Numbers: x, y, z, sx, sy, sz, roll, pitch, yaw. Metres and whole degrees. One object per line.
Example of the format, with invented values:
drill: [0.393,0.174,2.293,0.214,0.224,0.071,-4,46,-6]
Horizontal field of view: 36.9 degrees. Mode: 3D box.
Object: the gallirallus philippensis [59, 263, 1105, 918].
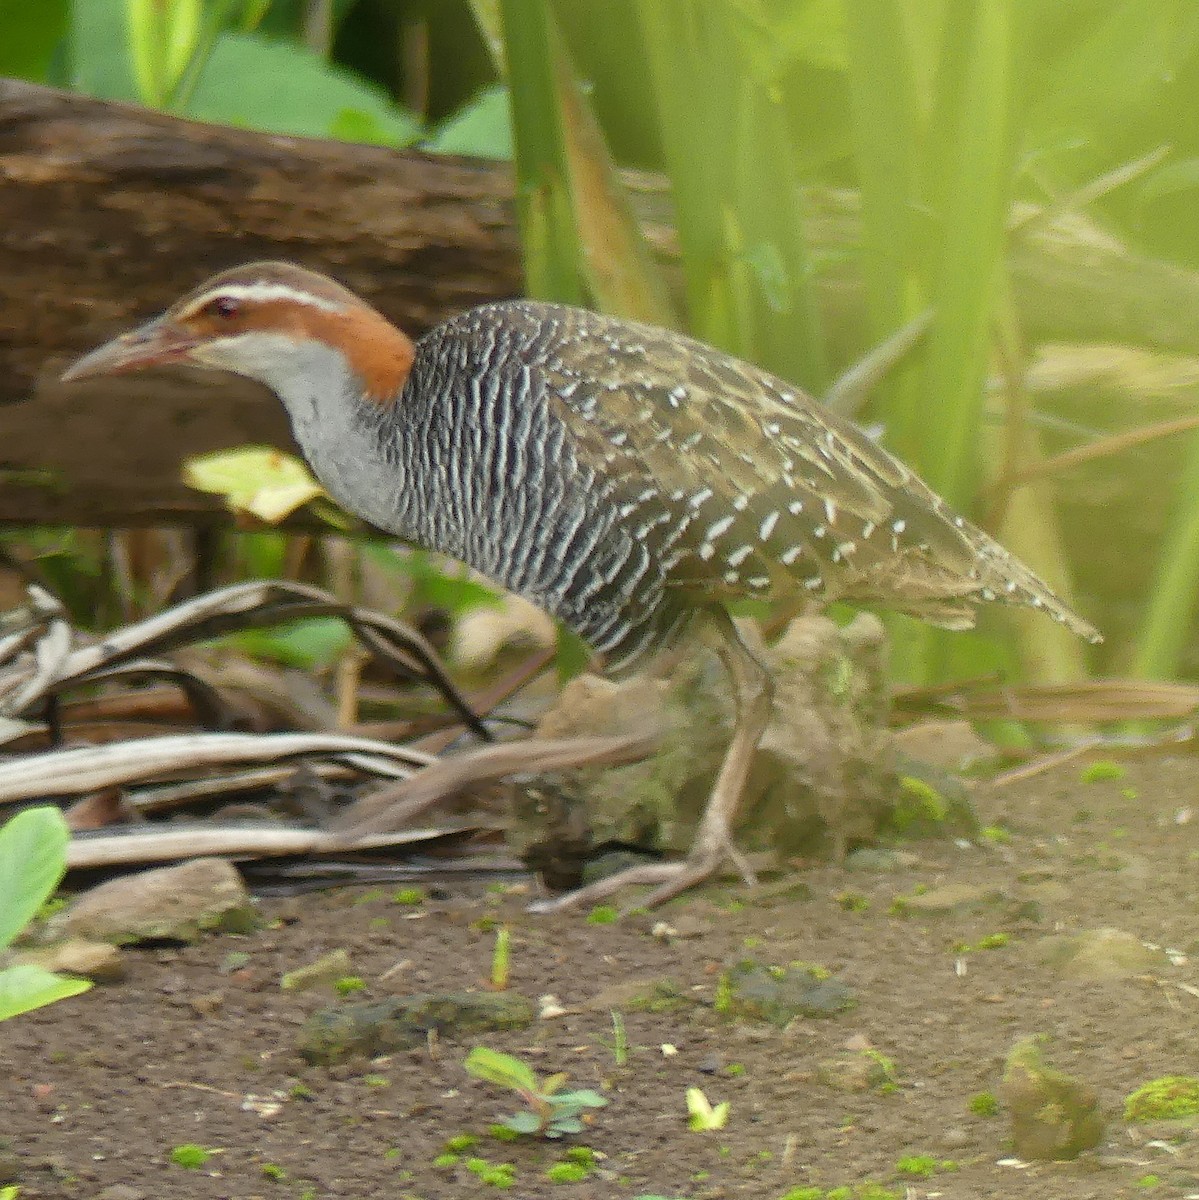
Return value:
gallirallus philippensis: [-0.047,-0.018,2.602,1.624,0.612,0.428,-1,1,16]
